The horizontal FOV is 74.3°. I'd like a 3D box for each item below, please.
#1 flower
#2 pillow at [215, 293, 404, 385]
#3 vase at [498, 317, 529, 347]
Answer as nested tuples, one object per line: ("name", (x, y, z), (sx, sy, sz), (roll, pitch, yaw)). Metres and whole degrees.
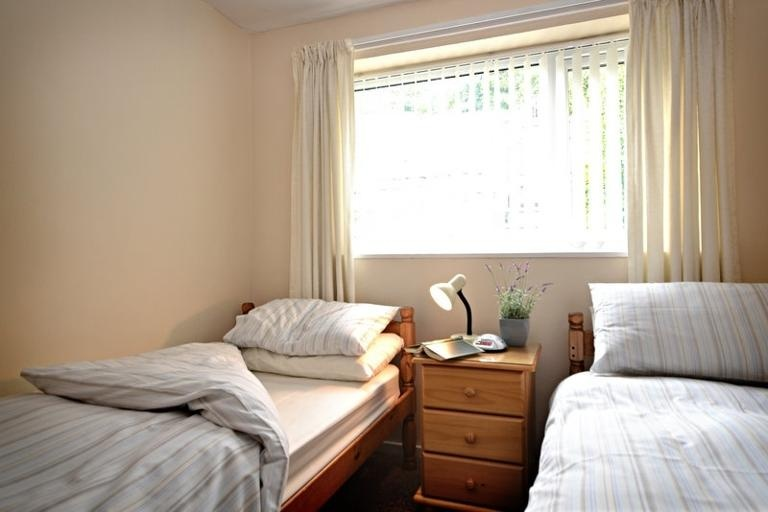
("flower", (0.814, 0.205, 3.138), (0.348, 0.255, 0.354), (2, 0, 10))
("pillow", (-0.439, 0.495, 3.096), (0.753, 0.237, 0.544), (-1, 1, 20))
("vase", (0.768, 0.443, 2.994), (0.143, 0.150, 0.175), (0, 3, -15))
